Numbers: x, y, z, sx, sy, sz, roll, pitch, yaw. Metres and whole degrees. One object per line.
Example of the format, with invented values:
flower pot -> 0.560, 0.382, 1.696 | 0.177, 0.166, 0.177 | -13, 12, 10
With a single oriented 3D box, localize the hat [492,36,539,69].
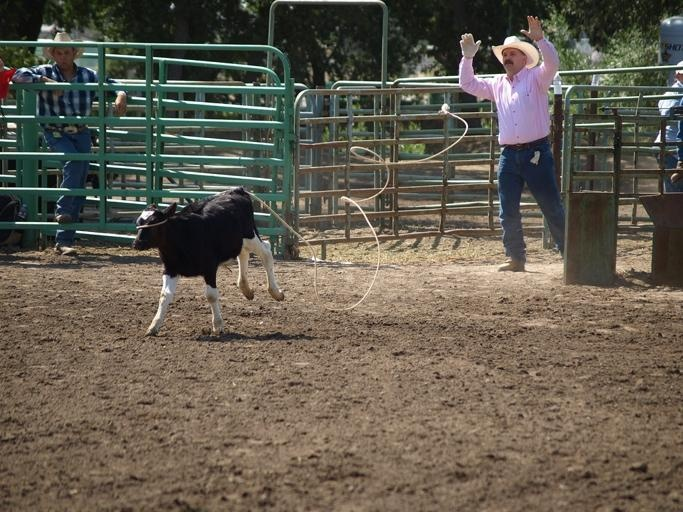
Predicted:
hat -> 1.901, -2.234, 9.976 | 0.473, 0.328, 0.590 | 2, 15, 9

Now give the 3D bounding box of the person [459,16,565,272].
person -> 1.943, -1.167, 9.939 | 1.232, 2.772, 0.737 | 11, 18, 39

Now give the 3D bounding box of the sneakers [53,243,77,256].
sneakers -> -3.248, -0.081, 10.838 | 0.310, 0.150, 0.117 | -2, 0, 38

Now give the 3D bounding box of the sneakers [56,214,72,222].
sneakers -> -3.222, -0.438, 10.694 | 0.158, 0.081, 0.115 | 1, 26, 12

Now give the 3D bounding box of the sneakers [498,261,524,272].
sneakers -> 1.895, 0.123, 10.183 | 0.243, 0.117, 0.124 | 2, -1, 10

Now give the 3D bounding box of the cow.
cow -> -1.192, 0.003, 8.153 | 0.671, 1.119, 1.363 | 6, 17, 27

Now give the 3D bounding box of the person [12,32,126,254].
person -> -3.155, -1.292, 10.825 | 1.222, 2.624, 0.851 | 2, 14, 12
